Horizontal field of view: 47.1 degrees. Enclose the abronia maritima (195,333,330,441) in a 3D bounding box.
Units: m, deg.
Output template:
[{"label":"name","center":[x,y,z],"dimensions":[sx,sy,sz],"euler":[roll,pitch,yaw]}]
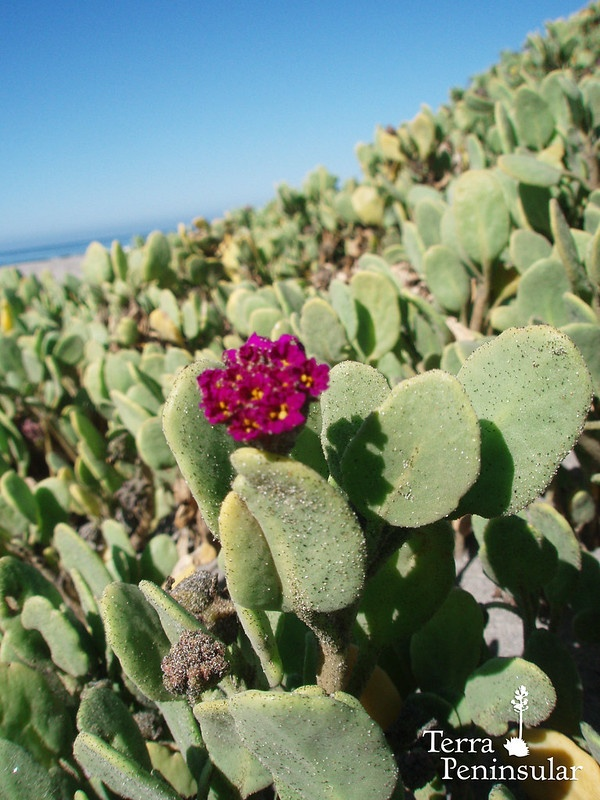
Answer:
[{"label":"abronia maritima","center":[-0.030,0.003,0.776],"dimensions":[0.121,0.072,0.121],"euler":[-51,42,-6]}]
